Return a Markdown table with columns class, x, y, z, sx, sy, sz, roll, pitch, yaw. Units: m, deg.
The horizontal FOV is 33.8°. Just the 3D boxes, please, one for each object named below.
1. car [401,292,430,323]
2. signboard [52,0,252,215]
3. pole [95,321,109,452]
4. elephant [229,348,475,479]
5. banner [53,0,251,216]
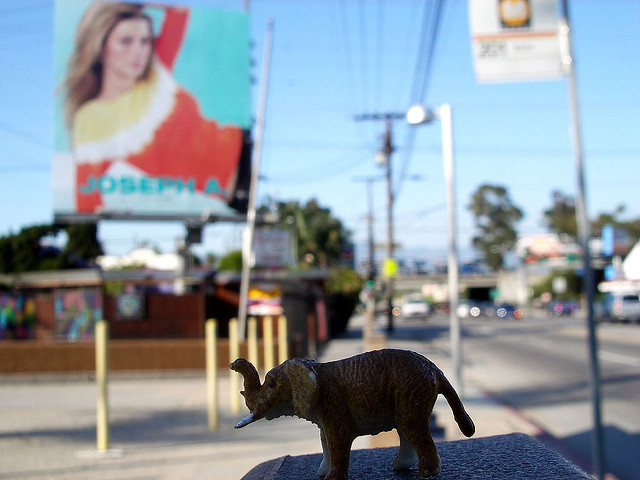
| class | x | y | z | sx | sy | sz | roll | pitch | yaw |
| --- | --- | --- | --- | --- | --- | --- | --- | --- | --- |
| car | 6.101 | 4.404 | 67.991 | 1.681 | 1.740 | 4.039 | -1 | 0 | 6 |
| signboard | -2.014 | -1.483 | 11.956 | 2.319 | 2.971 | 0.126 | 0 | 3 | -7 |
| pole | -2.353 | 1.574 | 11.461 | 0.144 | 1.359 | 0.252 | -1 | 0 | -14 |
| elephant | 0.357 | 1.992 | 11.473 | 2.410 | 1.550 | 1.159 | 0 | -20 | 1 |
| banner | -2.015 | -1.479 | 11.971 | 2.325 | 3.006 | 0.131 | 0 | 3 | -7 |
